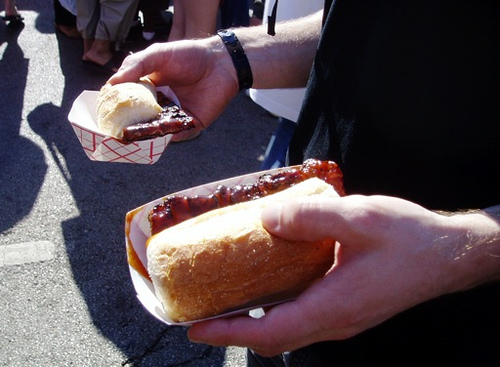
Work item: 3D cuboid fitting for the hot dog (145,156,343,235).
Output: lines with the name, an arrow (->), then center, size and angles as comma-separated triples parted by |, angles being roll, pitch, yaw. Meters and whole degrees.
hot dog -> -0.030, 0.034, 2.356 | 0.829, 0.216, 0.442 | -17, 8, 4

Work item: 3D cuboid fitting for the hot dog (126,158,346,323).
hot dog -> -0.055, 0.300, 2.269 | 1.061, 0.863, 0.439 | -1, 21, -10

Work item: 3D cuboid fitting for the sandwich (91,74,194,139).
sandwich -> -0.693, -0.508, 2.860 | 0.502, 0.184, 0.584 | -17, 44, -32
